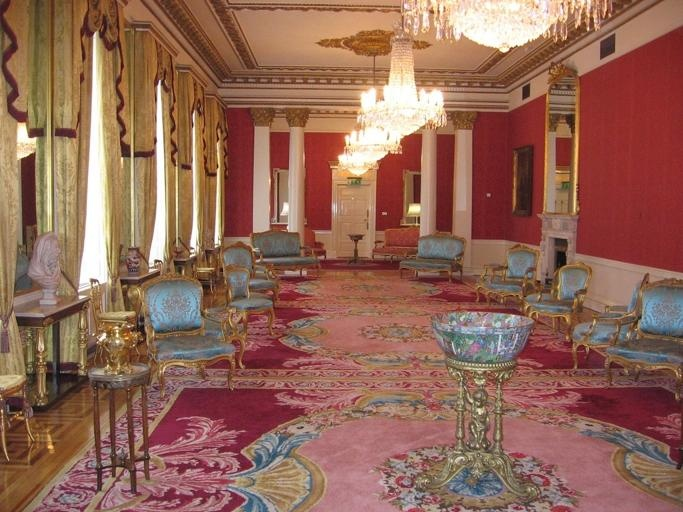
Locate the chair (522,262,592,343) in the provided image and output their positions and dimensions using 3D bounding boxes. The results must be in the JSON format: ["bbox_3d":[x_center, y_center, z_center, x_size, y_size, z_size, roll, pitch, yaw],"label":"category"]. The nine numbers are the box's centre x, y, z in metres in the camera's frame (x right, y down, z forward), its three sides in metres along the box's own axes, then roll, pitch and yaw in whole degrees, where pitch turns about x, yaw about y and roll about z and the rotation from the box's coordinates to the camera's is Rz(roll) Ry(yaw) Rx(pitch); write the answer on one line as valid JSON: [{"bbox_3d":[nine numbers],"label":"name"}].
[{"bbox_3d":[3.306,0.639,7.414,0.803,1.008,0.679,-6,7,-30],"label":"chair"}]

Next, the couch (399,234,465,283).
[{"bbox_3d":[2.369,-0.010,12.915,1.607,1.039,0.998,5,12,38],"label":"couch"}]

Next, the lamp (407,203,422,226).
[{"bbox_3d":[2.574,-1.489,17.930,0.441,0.792,0.782,-1,6,2],"label":"lamp"}]

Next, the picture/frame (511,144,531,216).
[{"bbox_3d":[4.724,-1.947,13.044,0.147,1.775,1.866,5,11,34],"label":"picture/frame"}]

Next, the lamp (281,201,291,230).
[{"bbox_3d":[-2.120,-1.533,18.447,0.208,0.951,0.224,-4,7,-25],"label":"lamp"}]

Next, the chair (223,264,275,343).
[{"bbox_3d":[-1.423,0.654,7.507,0.747,0.888,0.692,12,12,43],"label":"chair"}]

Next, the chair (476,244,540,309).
[{"bbox_3d":[3.142,0.411,9.427,1.032,1.228,0.940,3,6,27],"label":"chair"}]

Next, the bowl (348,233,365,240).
[{"bbox_3d":[0.533,-0.619,17.282,0.391,0.264,1.213,-1,6,6],"label":"bowl"}]

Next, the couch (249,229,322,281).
[{"bbox_3d":[-1.439,-0.047,12.205,1.738,1.108,0.933,-2,8,-39],"label":"couch"}]

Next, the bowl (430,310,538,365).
[{"bbox_3d":[0.948,0.551,3.362,0.648,0.282,0.592,-1,6,0],"label":"bowl"}]

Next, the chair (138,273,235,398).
[{"bbox_3d":[-1.606,0.798,5.226,0.949,1.090,0.917,1,5,-18],"label":"chair"}]

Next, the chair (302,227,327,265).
[{"bbox_3d":[-0.959,-0.460,16.585,0.675,1.030,0.697,5,1,33],"label":"chair"}]

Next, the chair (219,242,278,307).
[{"bbox_3d":[-1.617,0.351,8.710,0.796,1.029,0.849,7,12,43],"label":"chair"}]
